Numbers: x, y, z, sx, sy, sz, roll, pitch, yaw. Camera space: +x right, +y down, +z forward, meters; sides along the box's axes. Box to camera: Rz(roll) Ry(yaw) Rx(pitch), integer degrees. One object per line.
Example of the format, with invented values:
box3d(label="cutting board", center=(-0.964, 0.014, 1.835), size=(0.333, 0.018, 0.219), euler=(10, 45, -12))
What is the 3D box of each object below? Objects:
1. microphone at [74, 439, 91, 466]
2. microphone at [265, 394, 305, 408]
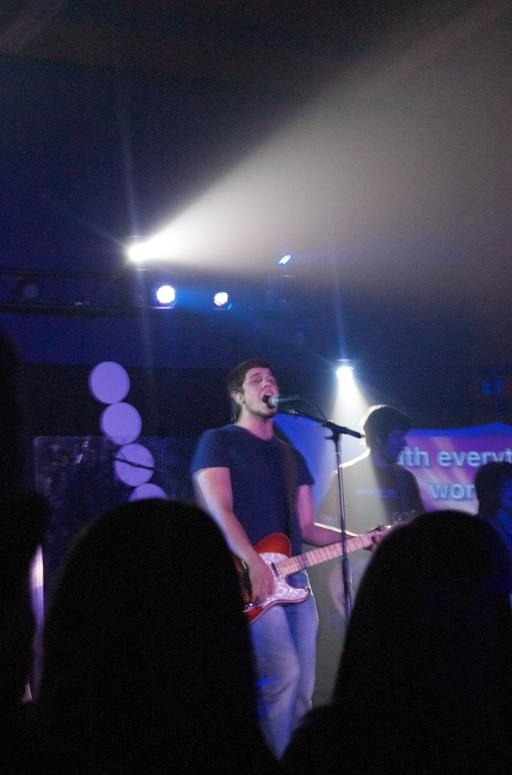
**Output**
box3d(label="microphone", center=(-1.325, 0.505, 4.568), size=(0.089, 0.049, 0.208), euler=(24, 38, -11))
box3d(label="microphone", center=(0.144, 0.096, 3.478), size=(0.077, 0.075, 0.282), euler=(-10, -1, -32))
